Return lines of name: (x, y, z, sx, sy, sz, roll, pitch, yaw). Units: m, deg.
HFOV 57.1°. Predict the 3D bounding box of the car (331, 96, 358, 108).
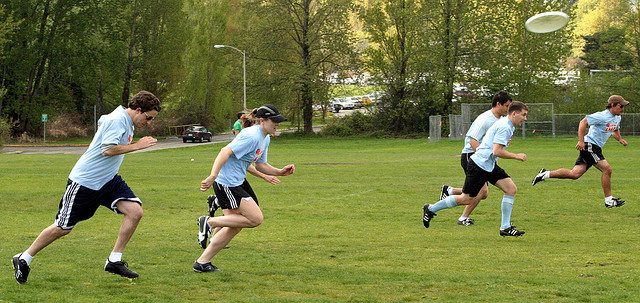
car: (4.317, -8.328, 100.468, 1.633, 1.595, 4.324, 3, 3, 37)
